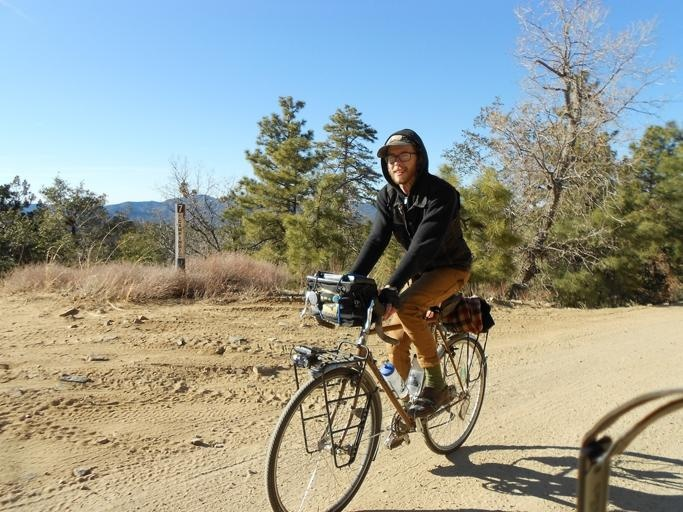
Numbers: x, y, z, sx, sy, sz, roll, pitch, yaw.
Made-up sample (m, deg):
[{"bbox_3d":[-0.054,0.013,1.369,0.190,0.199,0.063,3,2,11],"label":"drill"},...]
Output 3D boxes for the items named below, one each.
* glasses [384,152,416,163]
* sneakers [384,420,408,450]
[{"bbox_3d":[0.579,-0.969,4.853,0.274,0.114,0.110,3,11,11],"label":"glasses"},{"bbox_3d":[0.519,1.662,4.665,0.195,0.096,0.278,-9,9,-7],"label":"sneakers"}]
